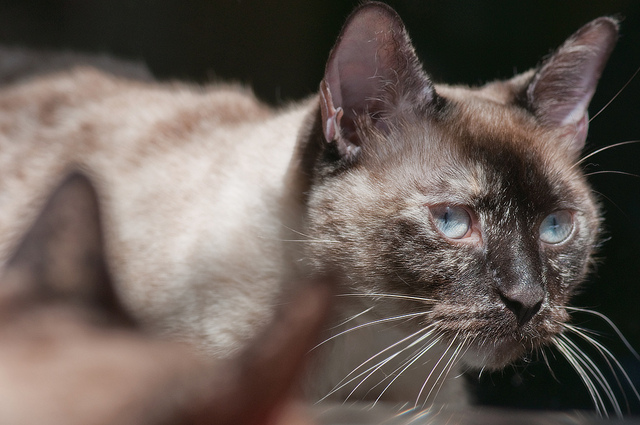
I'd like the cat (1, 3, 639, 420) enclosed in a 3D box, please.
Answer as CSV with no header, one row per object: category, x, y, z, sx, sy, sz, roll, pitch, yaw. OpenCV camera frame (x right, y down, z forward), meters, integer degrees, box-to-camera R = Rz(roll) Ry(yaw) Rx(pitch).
cat,-0.373,0.017,2.418,2.122,0.789,1.085,13,76,44
